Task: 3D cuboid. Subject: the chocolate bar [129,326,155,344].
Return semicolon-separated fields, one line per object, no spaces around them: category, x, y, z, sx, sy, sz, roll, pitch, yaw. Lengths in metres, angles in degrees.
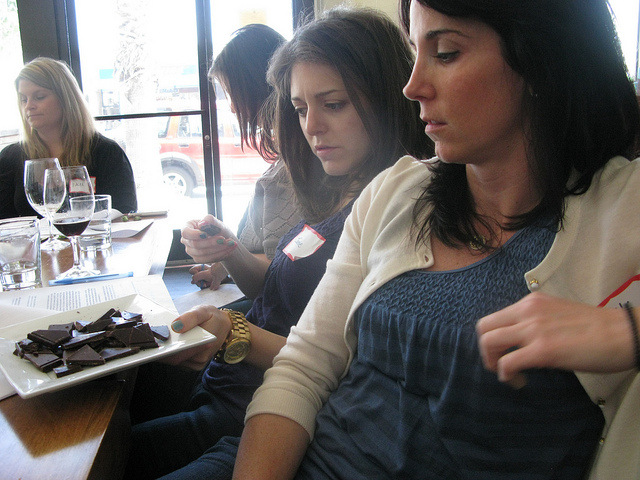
chocolate bar;-0.369;0.196;1.026;0.048;0.021;0.035;-2;13;-15

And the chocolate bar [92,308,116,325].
chocolate bar;-0.484;0.171;1.122;0.012;0.019;0.065;16;43;24

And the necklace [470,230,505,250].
necklace;0.364;0.004;1.075;0.064;0.034;0.034;-16;23;30

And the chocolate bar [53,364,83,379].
chocolate bar;-0.478;0.245;0.940;0.045;0.013;0.028;-8;16;-36

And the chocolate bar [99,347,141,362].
chocolate bar;-0.405;0.225;1.002;0.073;0.013;0.043;-8;16;-33

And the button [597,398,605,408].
button;0.520;0.301;0.915;0.014;0.020;0.005;8;15;27

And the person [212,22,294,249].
person;-0.329;-0.583;2.591;0.390;1.173;0.401;-6;-9;20

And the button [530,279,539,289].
button;0.415;0.086;0.957;0.009;0.013;0.012;3;-40;-47

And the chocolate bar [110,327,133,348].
chocolate bar;-0.408;0.200;1.018;0.039;0.036;0.030;-11;4;-21

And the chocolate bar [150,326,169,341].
chocolate bar;-0.341;0.197;1.061;0.024;0.009;0.033;-6;17;-35

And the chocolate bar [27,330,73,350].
chocolate bar;-0.548;0.193;0.988;0.049;0.010;0.046;14;12;30

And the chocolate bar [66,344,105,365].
chocolate bar;-0.451;0.230;0.961;0.060;0.021;0.054;6;14;21
